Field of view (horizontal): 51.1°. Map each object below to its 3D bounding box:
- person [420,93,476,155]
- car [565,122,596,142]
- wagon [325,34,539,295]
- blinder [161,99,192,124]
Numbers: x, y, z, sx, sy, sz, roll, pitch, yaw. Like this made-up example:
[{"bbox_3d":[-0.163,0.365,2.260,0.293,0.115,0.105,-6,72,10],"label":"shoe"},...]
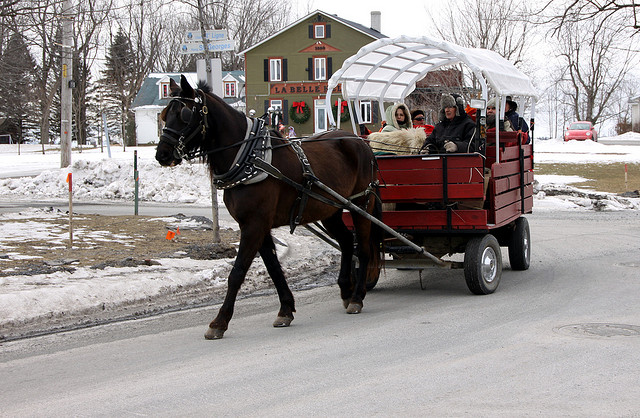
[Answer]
[{"bbox_3d":[2.258,-1.499,11.681,0.920,1.007,0.811,6,11,39],"label":"person"},{"bbox_3d":[25.146,-7.576,64.902,2.690,1.709,4.891,2,9,19],"label":"car"},{"bbox_3d":[2.194,-0.868,13.133,3.177,4.334,4.395,-1,3,28],"label":"wagon"},{"bbox_3d":[-1.997,-1.347,9.228,0.470,0.335,0.154,3,10,28],"label":"blinder"}]
